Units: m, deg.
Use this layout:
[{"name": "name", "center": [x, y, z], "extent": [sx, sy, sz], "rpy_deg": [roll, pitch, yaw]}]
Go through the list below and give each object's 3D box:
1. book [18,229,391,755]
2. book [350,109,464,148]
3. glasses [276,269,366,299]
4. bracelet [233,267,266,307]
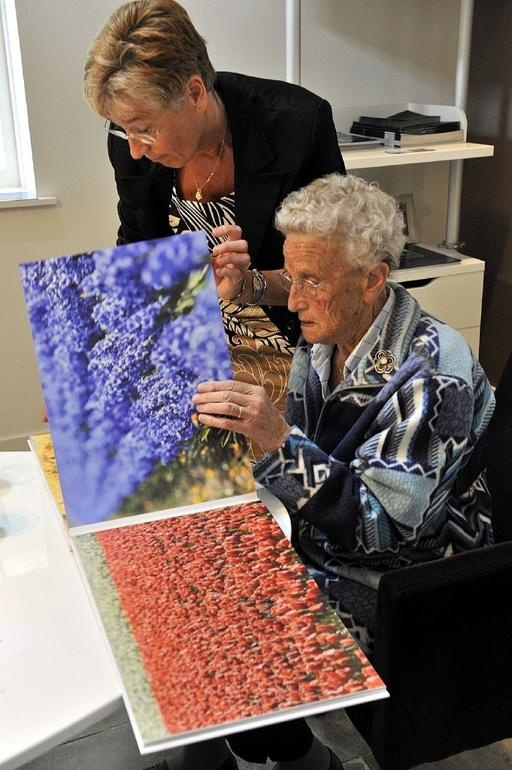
[{"name": "book", "center": [-0.178, 0.092, 0.898], "extent": [0.391, 0.327, 0.780], "rpy_deg": [-13, 41, -15]}, {"name": "book", "center": [0.586, -1.023, 2.569], "extent": [0.450, 0.139, 0.245], "rpy_deg": [1, 20, 18]}, {"name": "glasses", "center": [0.108, -0.181, 1.117], "extent": [0.070, 0.022, 0.067], "rpy_deg": [-10, 29, -38]}, {"name": "bracelet", "center": [-0.015, -0.205, 1.395], "extent": [0.063, 0.078, 0.035], "rpy_deg": [-20, -32, 41]}]
